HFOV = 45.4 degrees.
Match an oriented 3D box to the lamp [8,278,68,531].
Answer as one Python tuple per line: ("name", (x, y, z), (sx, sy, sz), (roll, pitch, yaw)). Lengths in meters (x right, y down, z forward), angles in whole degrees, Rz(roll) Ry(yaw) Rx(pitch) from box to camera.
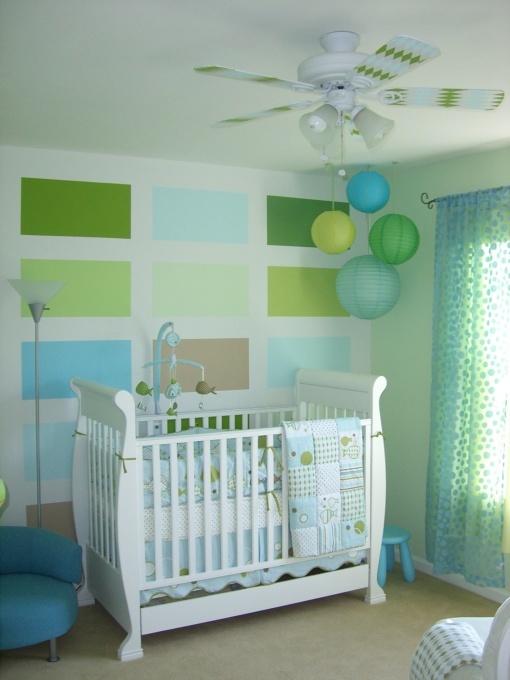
("lamp", (-1.038, 0.334, 2.851), (0.206, 1.225, 0.512), (1, -1, -21))

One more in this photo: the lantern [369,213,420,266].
("lantern", (0.716, -0.507, 3.199), (0.236, 0.294, 0.253), (1, -4, 0))

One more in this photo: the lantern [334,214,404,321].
("lantern", (0.605, -0.298, 3.334), (0.318, 0.409, 0.340), (-1, 2, -1))

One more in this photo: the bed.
("bed", (-0.202, 0.779, 3.108), (1.518, 1.279, 1.080), (-1, 1, -31))
